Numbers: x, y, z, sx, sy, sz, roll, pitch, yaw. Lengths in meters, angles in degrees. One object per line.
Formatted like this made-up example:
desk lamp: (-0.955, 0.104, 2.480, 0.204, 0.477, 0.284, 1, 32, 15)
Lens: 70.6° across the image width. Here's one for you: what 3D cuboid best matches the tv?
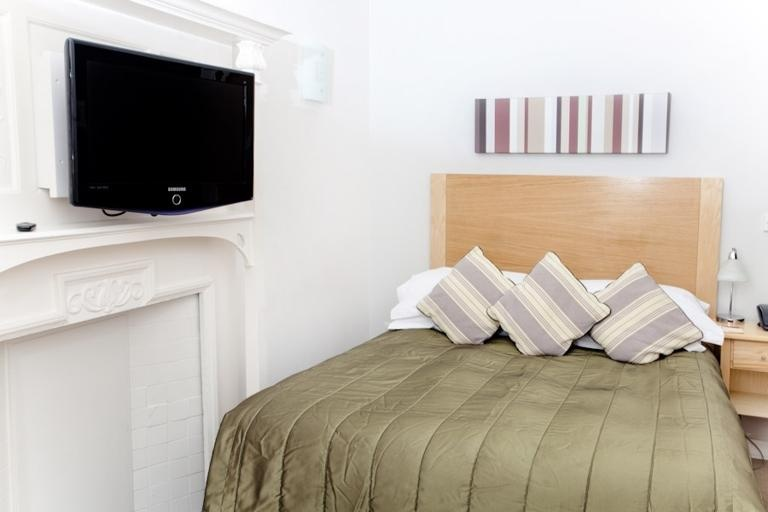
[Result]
tv: (-1.060, -0.589, 2.497, 0.102, 0.703, 1.024, 6, 6, 36)
